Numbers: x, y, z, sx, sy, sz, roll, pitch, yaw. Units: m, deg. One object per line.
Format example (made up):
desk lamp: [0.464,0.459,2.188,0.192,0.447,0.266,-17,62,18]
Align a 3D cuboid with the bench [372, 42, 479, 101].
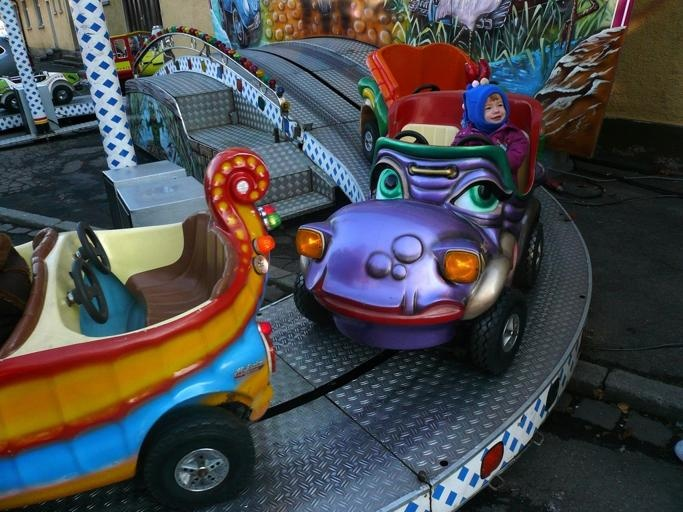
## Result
bench: [0.725,-1.782,4.124,0.857,0.770,0.356,-7,-13,-5]

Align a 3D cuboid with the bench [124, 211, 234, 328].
bench: [-0.718,0.141,2.282,0.553,0.403,0.697,-9,34,-27]
